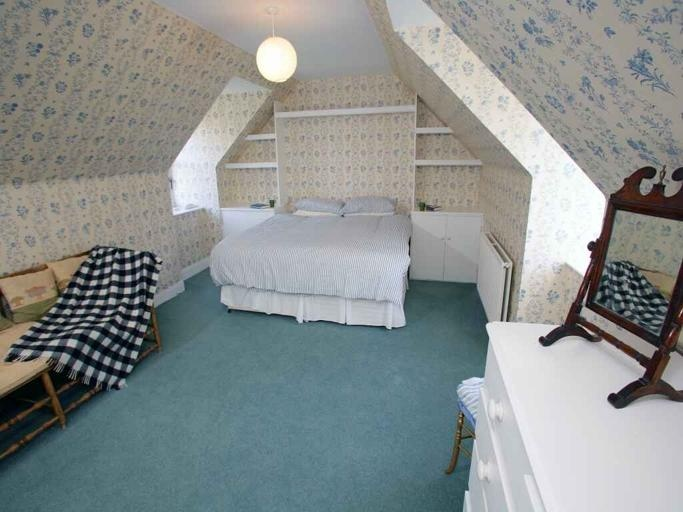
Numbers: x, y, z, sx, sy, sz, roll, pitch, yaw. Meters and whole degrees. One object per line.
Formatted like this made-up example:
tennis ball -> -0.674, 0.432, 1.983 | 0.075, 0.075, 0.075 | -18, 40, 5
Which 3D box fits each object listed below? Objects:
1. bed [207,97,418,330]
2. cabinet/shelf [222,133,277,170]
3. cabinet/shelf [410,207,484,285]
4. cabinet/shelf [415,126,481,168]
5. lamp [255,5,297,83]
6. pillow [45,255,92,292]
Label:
bed -> -0.189, -0.654, 5.078 | 2.023, 2.364, 2.282 | 5, 9, 9
cabinet/shelf -> -1.174, -1.499, 6.394 | 0.792, 0.503, 0.278 | 6, 10, 29
cabinet/shelf -> 1.251, -0.148, 5.368 | 0.807, 0.863, 0.295 | 4, 20, 15
cabinet/shelf -> 1.305, -1.334, 5.471 | 0.787, 0.478, 0.386 | 5, 9, 13
lamp -> -0.537, -1.688, 3.698 | 0.304, 0.524, 0.694 | 2, 9, -9
pillow -> -2.329, 0.138, 3.720 | 0.076, 0.333, 0.293 | 27, 17, 15
